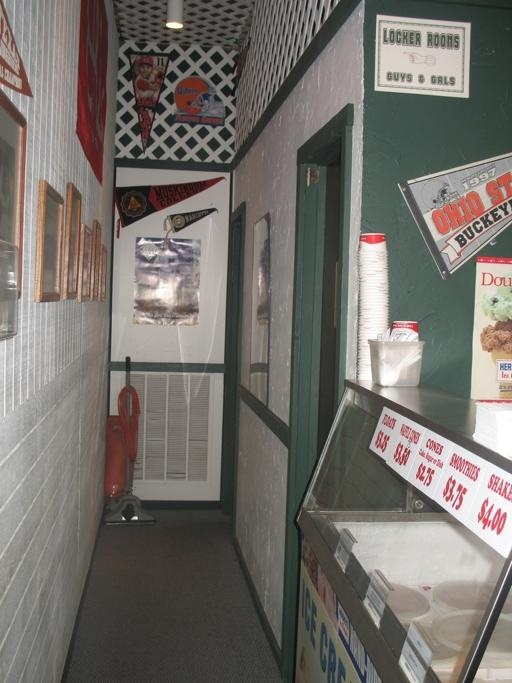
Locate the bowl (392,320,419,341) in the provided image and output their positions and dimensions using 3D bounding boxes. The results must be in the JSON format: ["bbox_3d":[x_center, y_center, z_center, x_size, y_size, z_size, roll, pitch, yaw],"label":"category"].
[{"bbox_3d":[0.382,-0.032,1.189,0.042,0.062,0.053,-3,9,-15],"label":"bowl"}]

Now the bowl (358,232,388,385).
[{"bbox_3d":[0.320,-0.091,1.293,0.078,0.391,0.075,2,-1,0],"label":"bowl"}]

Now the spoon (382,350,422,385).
[{"bbox_3d":[0.362,0.056,1.163,0.082,0.094,0.083,0,-3,-10],"label":"spoon"}]
